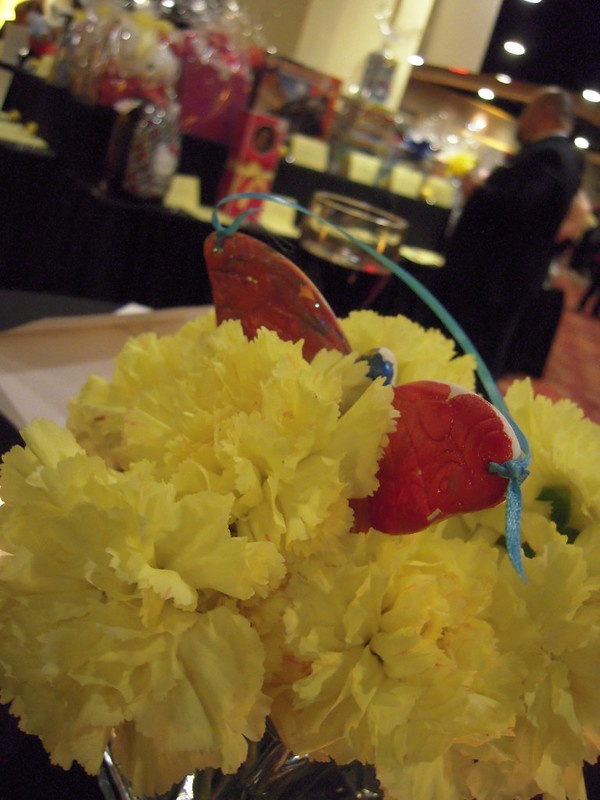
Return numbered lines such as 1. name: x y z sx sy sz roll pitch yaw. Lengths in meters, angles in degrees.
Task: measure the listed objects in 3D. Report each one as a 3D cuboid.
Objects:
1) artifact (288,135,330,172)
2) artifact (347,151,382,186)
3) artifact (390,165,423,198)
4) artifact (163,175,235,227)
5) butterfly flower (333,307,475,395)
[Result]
1. artifact: 0.017 -0.618 1.860 0.104 0.063 0.189 19 20 -1
2. artifact: 0.164 -0.602 1.943 0.068 0.080 0.123 26 34 29
3. artifact: 0.291 -0.600 2.048 0.090 0.068 0.193 25 20 12
4. artifact: -0.203 -0.401 1.487 0.126 0.061 0.357 14 20 -13
5. butterfly flower: 0.056 -0.027 0.382 0.058 0.028 0.054 26 2 1
